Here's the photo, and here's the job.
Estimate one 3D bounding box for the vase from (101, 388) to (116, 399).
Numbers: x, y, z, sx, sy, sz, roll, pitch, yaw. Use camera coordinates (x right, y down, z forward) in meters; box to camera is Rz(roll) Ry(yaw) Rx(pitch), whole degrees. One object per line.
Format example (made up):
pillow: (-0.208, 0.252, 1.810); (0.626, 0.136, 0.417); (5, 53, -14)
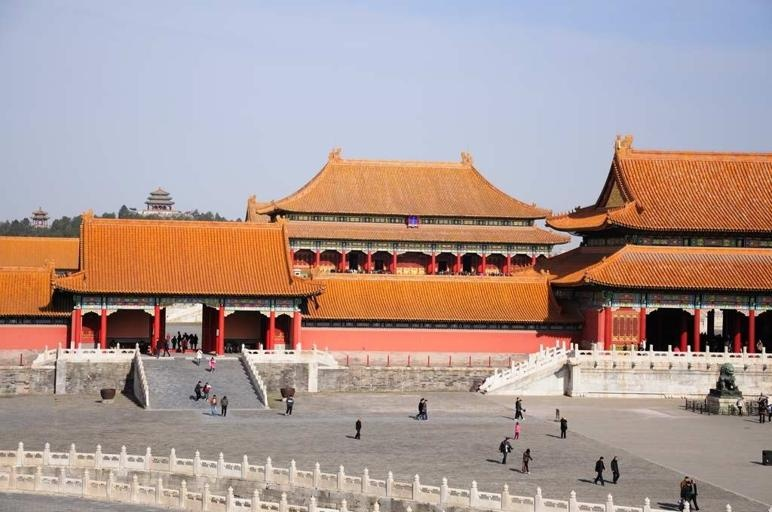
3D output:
vase: (-17.850, 8.787, 104.793); (0.888, 0.699, 0.674); (4, -11, -21)

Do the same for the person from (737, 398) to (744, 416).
person: (23.226, 9.777, 106.564); (0.541, 1.087, 0.276); (7, -13, -33)
